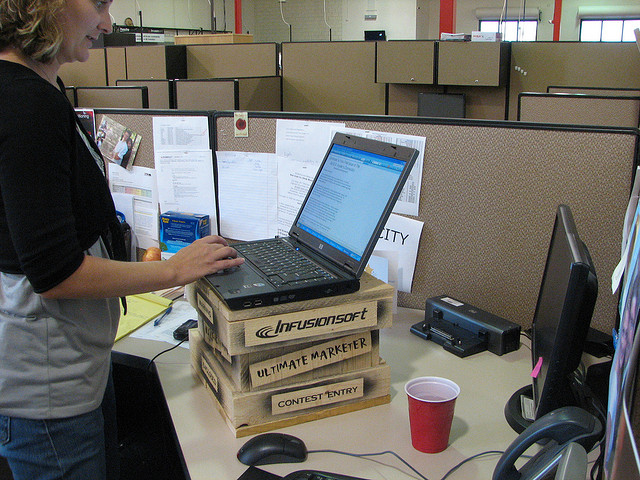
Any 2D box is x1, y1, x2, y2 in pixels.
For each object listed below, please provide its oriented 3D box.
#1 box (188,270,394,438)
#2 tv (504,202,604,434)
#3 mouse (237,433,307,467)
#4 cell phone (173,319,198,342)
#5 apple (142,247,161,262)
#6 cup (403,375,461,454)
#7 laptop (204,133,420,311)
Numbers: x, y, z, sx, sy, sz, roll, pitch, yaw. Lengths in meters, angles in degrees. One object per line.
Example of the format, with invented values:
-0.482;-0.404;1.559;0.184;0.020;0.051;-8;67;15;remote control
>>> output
-0.059;0.182;1.061;0.327;0.228;0.330;-5;13;-18;box
0.471;0.148;0.979;0.154;0.354;0.384;2;15;13;tv
-0.083;0.368;0.885;0.099;0.032;0.054;-4;12;-8;mouse
-0.339;0.229;1.263;0.044;0.024;0.081;0;26;22;cell phone
-0.533;0.044;1.559;0.040;0.038;0.037;9;11;37;apple
0.205;0.323;0.898;0.095;0.102;0.128;5;19;37;cup
-0.022;-0.030;1.064;0.403;0.284;0.357;-2;17;-23;laptop
